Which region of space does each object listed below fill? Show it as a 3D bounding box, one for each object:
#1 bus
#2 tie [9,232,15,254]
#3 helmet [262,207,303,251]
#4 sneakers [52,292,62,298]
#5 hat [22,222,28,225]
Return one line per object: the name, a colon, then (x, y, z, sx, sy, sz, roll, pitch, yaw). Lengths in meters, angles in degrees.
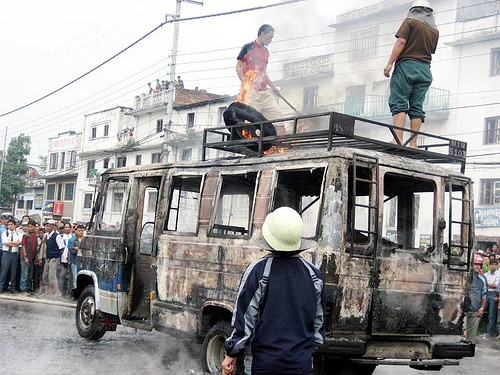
bus: (0.116, 0.824, 8.626, 3.581, 4.038, 6.848, 7, -4, -44)
tie: (-7.281, 1.686, 14.625, 0.195, 0.634, 0.100, 6, -7, -29)
helmet: (0.284, 0.368, 3.926, 0.258, 0.389, 0.181, 2, -37, -15)
sneakers: (-5.964, 3.374, 14.765, 0.302, 0.134, 0.126, 4, -5, 15)
hat: (-7.153, 1.186, 15.250, 0.181, 0.055, 0.195, 1, 1, 12)
